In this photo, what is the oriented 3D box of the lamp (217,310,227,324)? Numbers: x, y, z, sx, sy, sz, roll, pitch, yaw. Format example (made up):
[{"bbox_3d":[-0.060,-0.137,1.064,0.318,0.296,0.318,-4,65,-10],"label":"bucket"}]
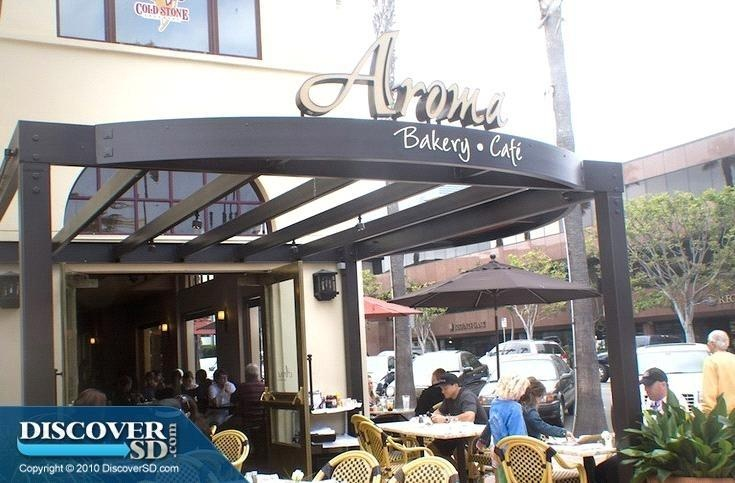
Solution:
[{"bbox_3d":[-4.234,2.166,18.298,0.110,0.371,0.810,3,-15,-29],"label":"lamp"}]

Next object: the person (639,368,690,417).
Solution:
[{"bbox_3d":[4.208,2.127,9.344,0.797,0.696,0.703,0,-1,-4],"label":"person"}]

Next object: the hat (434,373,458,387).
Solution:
[{"bbox_3d":[1.346,2.328,10.735,0.267,0.141,0.197,0,-4,15],"label":"hat"}]
